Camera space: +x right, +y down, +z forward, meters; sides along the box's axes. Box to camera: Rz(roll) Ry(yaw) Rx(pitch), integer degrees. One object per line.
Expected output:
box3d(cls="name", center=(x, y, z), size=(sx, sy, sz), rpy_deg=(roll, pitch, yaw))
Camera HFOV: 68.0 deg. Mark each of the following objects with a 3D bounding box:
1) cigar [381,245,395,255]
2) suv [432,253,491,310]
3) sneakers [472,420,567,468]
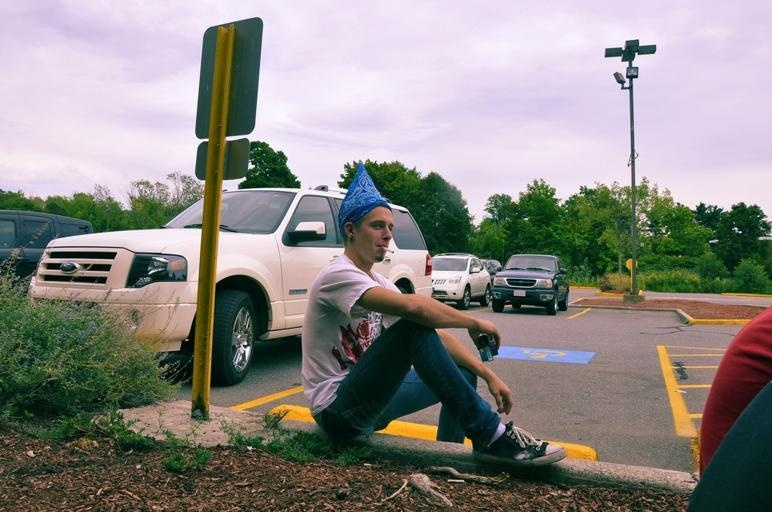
box3d(cls="cigar", center=(0.034, -0.068, 7.202), size=(0.060, 0.099, 0.328), rpy_deg=(-20, -3, -7))
box3d(cls="suv", center=(2.244, 0.693, 18.313), size=(1.407, 1.090, 2.409), rpy_deg=(-3, -8, 23))
box3d(cls="sneakers", center=(0.894, 1.258, 3.971), size=(0.654, 0.273, 0.242), rpy_deg=(-2, -2, 6))
